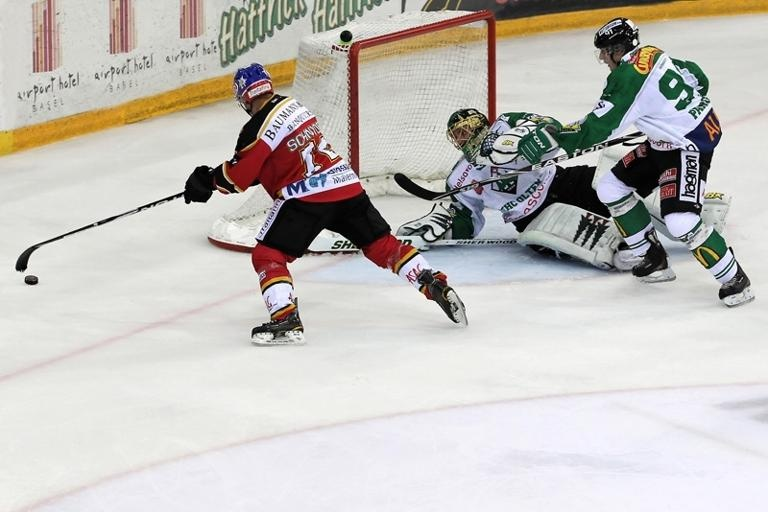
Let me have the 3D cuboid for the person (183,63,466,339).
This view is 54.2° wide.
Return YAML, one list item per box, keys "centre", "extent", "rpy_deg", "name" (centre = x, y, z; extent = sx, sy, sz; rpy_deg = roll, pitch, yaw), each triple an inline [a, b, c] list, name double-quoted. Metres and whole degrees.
- centre: [-0.254, -0.261, 3.728]
  extent: [0.682, 1.266, 1.802]
  rpy_deg: [-9, 9, -41]
  name: "person"

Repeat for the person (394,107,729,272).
- centre: [1.047, -0.446, 4.729]
  extent: [1.972, 0.709, 1.087]
  rpy_deg: [15, 33, 33]
  name: "person"

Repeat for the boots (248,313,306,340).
- centre: [-0.499, 0.333, 3.571]
  extent: [0.268, 0.145, 0.083]
  rpy_deg: [-7, -7, 13]
  name: "boots"

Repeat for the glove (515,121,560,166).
- centre: [0.840, -0.634, 4.145]
  extent: [0.238, 0.166, 0.138]
  rpy_deg: [-40, -1, 26]
  name: "glove"

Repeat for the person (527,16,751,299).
- centre: [1.452, -0.532, 4.201]
  extent: [1.382, 1.336, 1.005]
  rpy_deg: [6, 14, 23]
  name: "person"

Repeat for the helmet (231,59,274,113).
- centre: [-0.658, -0.845, 3.763]
  extent: [0.206, 0.213, 0.225]
  rpy_deg: [-29, 27, -23]
  name: "helmet"

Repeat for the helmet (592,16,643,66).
- centre: [1.193, -1.125, 3.996]
  extent: [0.300, 0.240, 0.235]
  rpy_deg: [-14, 24, -8]
  name: "helmet"

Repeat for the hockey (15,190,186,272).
- centre: [-1.882, -0.149, 4.974]
  extent: [1.680, 0.107, 0.218]
  rpy_deg: [-14, -24, 25]
  name: "hockey"
